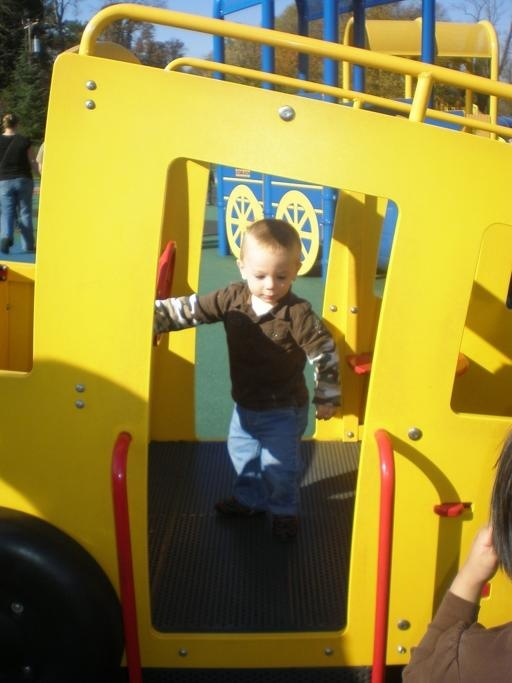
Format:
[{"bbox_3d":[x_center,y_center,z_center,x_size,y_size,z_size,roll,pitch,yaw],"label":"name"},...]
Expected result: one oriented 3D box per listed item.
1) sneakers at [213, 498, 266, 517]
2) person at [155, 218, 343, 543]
[{"bbox_3d":[-0.053,0.528,2.054,0.172,0.076,0.059,2,2,9],"label":"sneakers"},{"bbox_3d":[-0.023,0.112,1.884,0.486,0.947,0.357,-9,16,-37],"label":"person"}]
